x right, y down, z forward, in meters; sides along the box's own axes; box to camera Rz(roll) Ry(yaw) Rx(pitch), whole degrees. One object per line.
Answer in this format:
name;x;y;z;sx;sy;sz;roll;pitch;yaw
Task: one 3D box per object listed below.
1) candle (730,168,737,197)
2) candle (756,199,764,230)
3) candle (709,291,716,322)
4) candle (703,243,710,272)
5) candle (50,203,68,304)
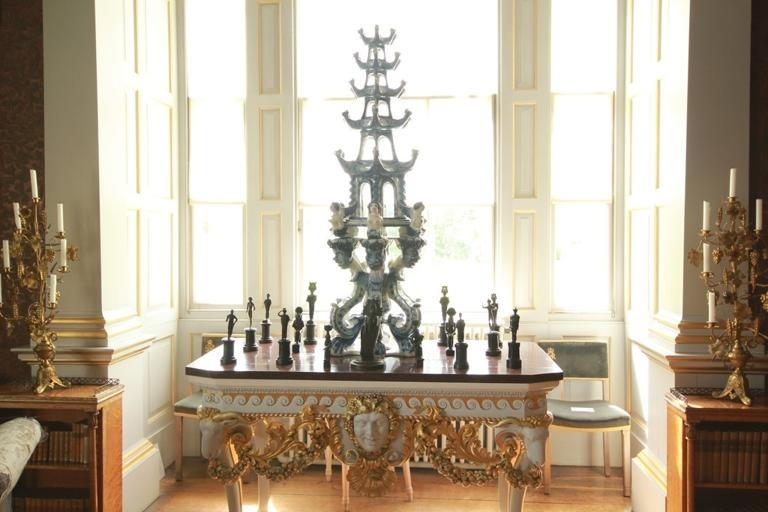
candle;2.419;-0.513;6.218;0.050;0.205;0.359;0;4;21
candle;2.592;-0.285;6.203;0.049;0.218;0.458;0;4;23
candle;2.244;0.338;6.139;0.049;0.206;0.155;0;4;20
candle;2.215;0.001;6.161;0.040;0.198;0.184;0;4;19
candle;-2.372;-0.017;6.490;0.157;0.738;0.332;-3;4;-21
